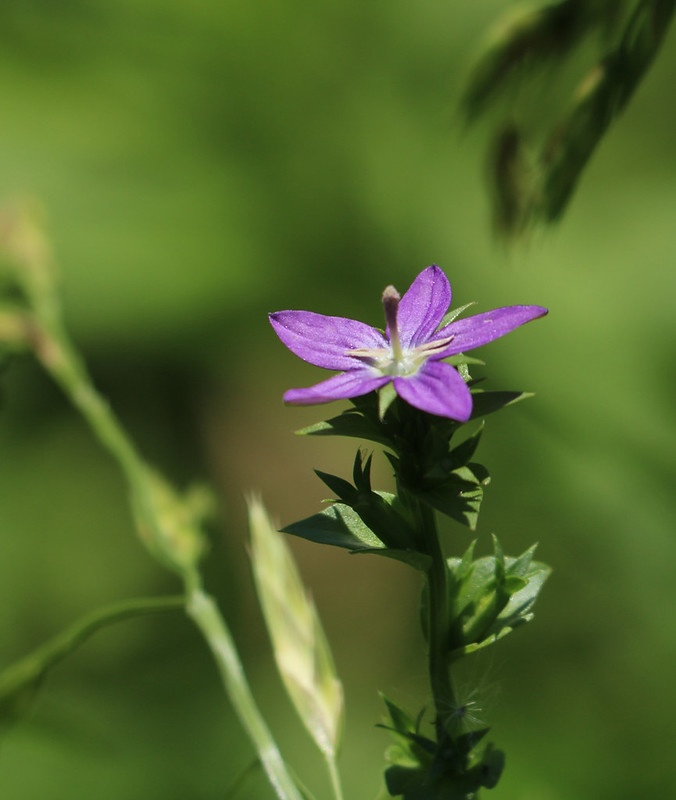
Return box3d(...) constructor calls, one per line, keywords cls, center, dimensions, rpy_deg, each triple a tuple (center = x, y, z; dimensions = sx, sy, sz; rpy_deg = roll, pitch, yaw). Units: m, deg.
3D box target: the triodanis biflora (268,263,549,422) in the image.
box3d(cls="triodanis biflora", center=(0.028, -0.021, 0.354), dimensions=(0.087, 0.080, 0.034), rpy_deg=(-21, -57, -6))
